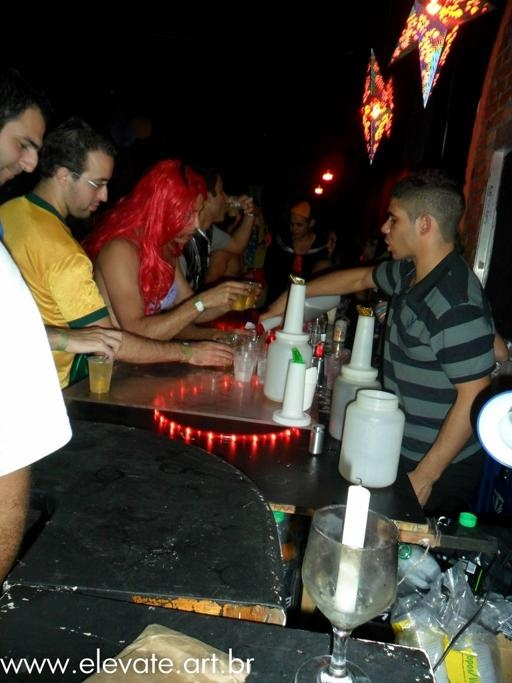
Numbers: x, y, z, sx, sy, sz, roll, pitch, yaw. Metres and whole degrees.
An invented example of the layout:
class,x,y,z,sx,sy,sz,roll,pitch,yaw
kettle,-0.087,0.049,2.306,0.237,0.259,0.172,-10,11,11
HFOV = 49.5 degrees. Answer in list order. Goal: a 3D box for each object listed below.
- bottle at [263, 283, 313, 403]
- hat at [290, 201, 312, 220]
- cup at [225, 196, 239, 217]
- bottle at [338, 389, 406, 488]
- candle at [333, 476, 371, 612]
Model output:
class,x,y,z,sx,sy,sz,roll,pitch,yaw
bottle,0.118,0.008,1.944,0.161,0.446,0.276,10,12,5
hat,0.431,-1.297,5.496,0.192,0.135,0.186,19,16,19
cup,-0.198,-1.091,4.492,0.162,0.171,0.200,-1,12,-5
bottle,0.321,0.252,1.440,0.188,0.245,0.125,3,13,-24
candle,0.129,0.240,0.723,0.036,0.160,0.137,11,12,12
